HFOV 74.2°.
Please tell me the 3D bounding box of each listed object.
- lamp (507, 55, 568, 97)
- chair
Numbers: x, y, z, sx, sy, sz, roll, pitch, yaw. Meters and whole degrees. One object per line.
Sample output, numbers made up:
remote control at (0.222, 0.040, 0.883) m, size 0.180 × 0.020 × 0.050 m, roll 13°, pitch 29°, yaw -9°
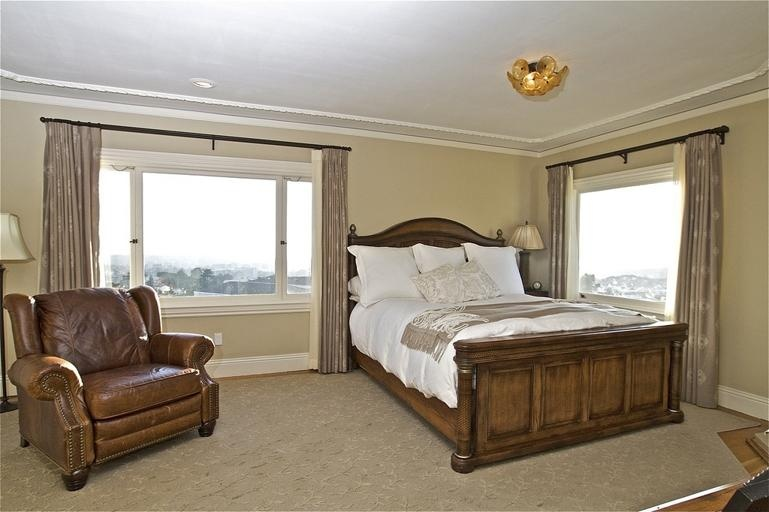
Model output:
lamp at (1.362, -1.613, 4.527) m, size 0.473 × 0.177 × 0.409 m, roll -1°, pitch -37°, yaw -5°
chair at (-2.627, 1.024, 4.882) m, size 1.804 × 1.469 × 1.635 m, roll -4°, pitch -4°, yaw 41°
